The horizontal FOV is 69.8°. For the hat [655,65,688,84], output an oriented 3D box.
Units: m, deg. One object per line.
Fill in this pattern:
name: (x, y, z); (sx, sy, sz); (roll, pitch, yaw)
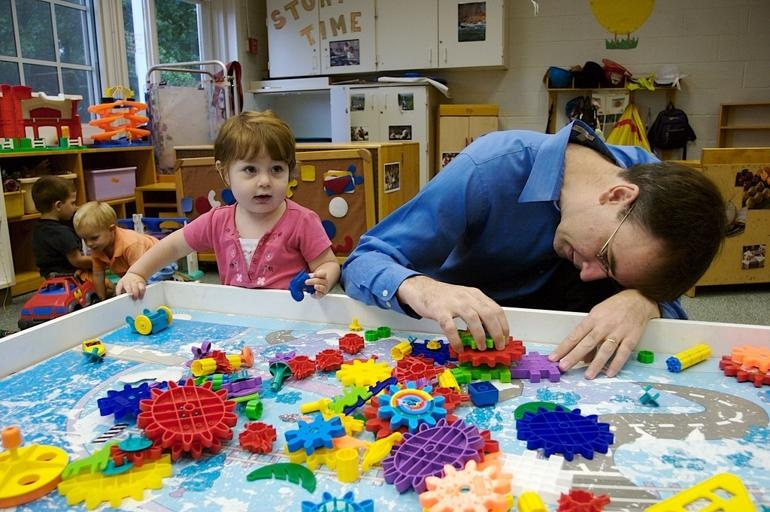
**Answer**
hat: (2.405, -1.539, 4.657); (0.203, 0.082, 0.204); (-3, 30, 8)

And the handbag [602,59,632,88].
handbag: (1.959, -1.564, 4.708); (0.240, 0.238, 0.136); (7, 17, 26)

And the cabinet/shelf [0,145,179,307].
cabinet/shelf: (-1.732, -0.170, 3.143); (0.327, 0.964, 1.043); (6, 9, 30)

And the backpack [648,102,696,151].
backpack: (2.413, -1.109, 4.697); (0.376, 0.361, 0.203); (-6, 25, 8)

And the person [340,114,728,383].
person: (0.336, -0.037, 1.565); (0.864, 0.594, 0.965); (-12, 25, -42)

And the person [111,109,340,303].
person: (-0.523, -0.075, 1.915); (0.720, 0.786, 0.420); (6, 13, 5)

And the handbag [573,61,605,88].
handbag: (1.741, -1.551, 4.740); (0.187, 0.140, 0.265); (1, -1, -5)

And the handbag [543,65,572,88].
handbag: (1.490, -1.547, 4.841); (0.213, 0.155, 0.212); (10, 17, 38)
